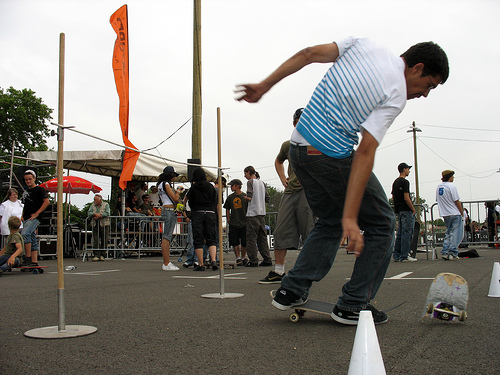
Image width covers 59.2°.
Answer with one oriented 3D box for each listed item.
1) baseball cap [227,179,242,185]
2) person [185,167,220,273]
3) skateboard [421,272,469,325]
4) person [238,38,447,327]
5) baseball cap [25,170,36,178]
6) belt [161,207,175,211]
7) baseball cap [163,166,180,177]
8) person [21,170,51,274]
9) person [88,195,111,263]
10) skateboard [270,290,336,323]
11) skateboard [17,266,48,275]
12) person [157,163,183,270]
[{"bbox_3d":[-0.277,-0.101,8.765,0.313,0.128,0.232,2,-3,9],"label":"baseball cap"},{"bbox_3d":[-0.915,0.659,8.880,0.649,2.018,0.440,4,-6,-28],"label":"person"},{"bbox_3d":[1.611,0.874,3.521,0.308,0.394,0.166,11,-33,28],"label":"skateboard"},{"bbox_3d":[0.740,-0.059,3.436,0.966,2.256,1.271,6,-7,-42],"label":"person"},{"bbox_3d":[-4.610,-0.302,9.199,0.180,0.125,0.359,5,-7,-28],"label":"baseball cap"},{"bbox_3d":[-1.753,0.455,9.382,0.289,0.081,0.203,2,-6,0],"label":"belt"},{"bbox_3d":[-1.643,-0.354,9.304,0.274,0.157,0.202,6,3,-39],"label":"baseball cap"},{"bbox_3d":[-4.470,0.616,9.109,0.465,1.900,0.612,4,-6,-27],"label":"person"},{"bbox_3d":[-4.481,1.185,13.065,0.618,1.880,0.970,3,-6,-18],"label":"person"},{"bbox_3d":[0.534,1.017,3.742,0.766,0.142,0.216,7,6,21],"label":"skateboard"},{"bbox_3d":[-4.318,1.605,8.726,0.477,0.153,0.732,4,-7,-24],"label":"skateboard"},{"bbox_3d":[-1.717,0.630,9.420,0.594,2.262,0.562,1,-13,-13],"label":"person"}]
